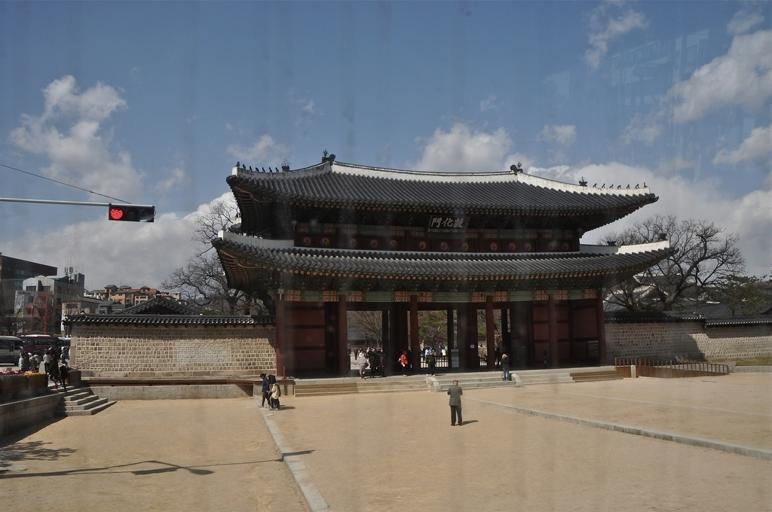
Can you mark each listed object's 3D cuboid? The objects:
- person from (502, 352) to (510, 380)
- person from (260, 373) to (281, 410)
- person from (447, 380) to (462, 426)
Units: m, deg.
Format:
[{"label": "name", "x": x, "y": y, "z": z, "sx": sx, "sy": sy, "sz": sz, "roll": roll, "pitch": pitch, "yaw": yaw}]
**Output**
[{"label": "person", "x": 6.676, "y": 6.209, "z": 41.365, "sx": 0.408, "sy": 1.508, "sz": 0.819, "roll": -1, "pitch": 5, "yaw": 9}, {"label": "person", "x": -5.688, "y": 6.580, "z": 35.981, "sx": 0.743, "sy": 1.623, "sz": 1.865, "roll": -3, "pitch": 5, "yaw": -18}, {"label": "person", "x": 2.905, "y": 6.118, "z": 31.261, "sx": 0.557, "sy": 1.815, "sz": 1.105, "roll": -1, "pitch": 5, "yaw": 4}]
